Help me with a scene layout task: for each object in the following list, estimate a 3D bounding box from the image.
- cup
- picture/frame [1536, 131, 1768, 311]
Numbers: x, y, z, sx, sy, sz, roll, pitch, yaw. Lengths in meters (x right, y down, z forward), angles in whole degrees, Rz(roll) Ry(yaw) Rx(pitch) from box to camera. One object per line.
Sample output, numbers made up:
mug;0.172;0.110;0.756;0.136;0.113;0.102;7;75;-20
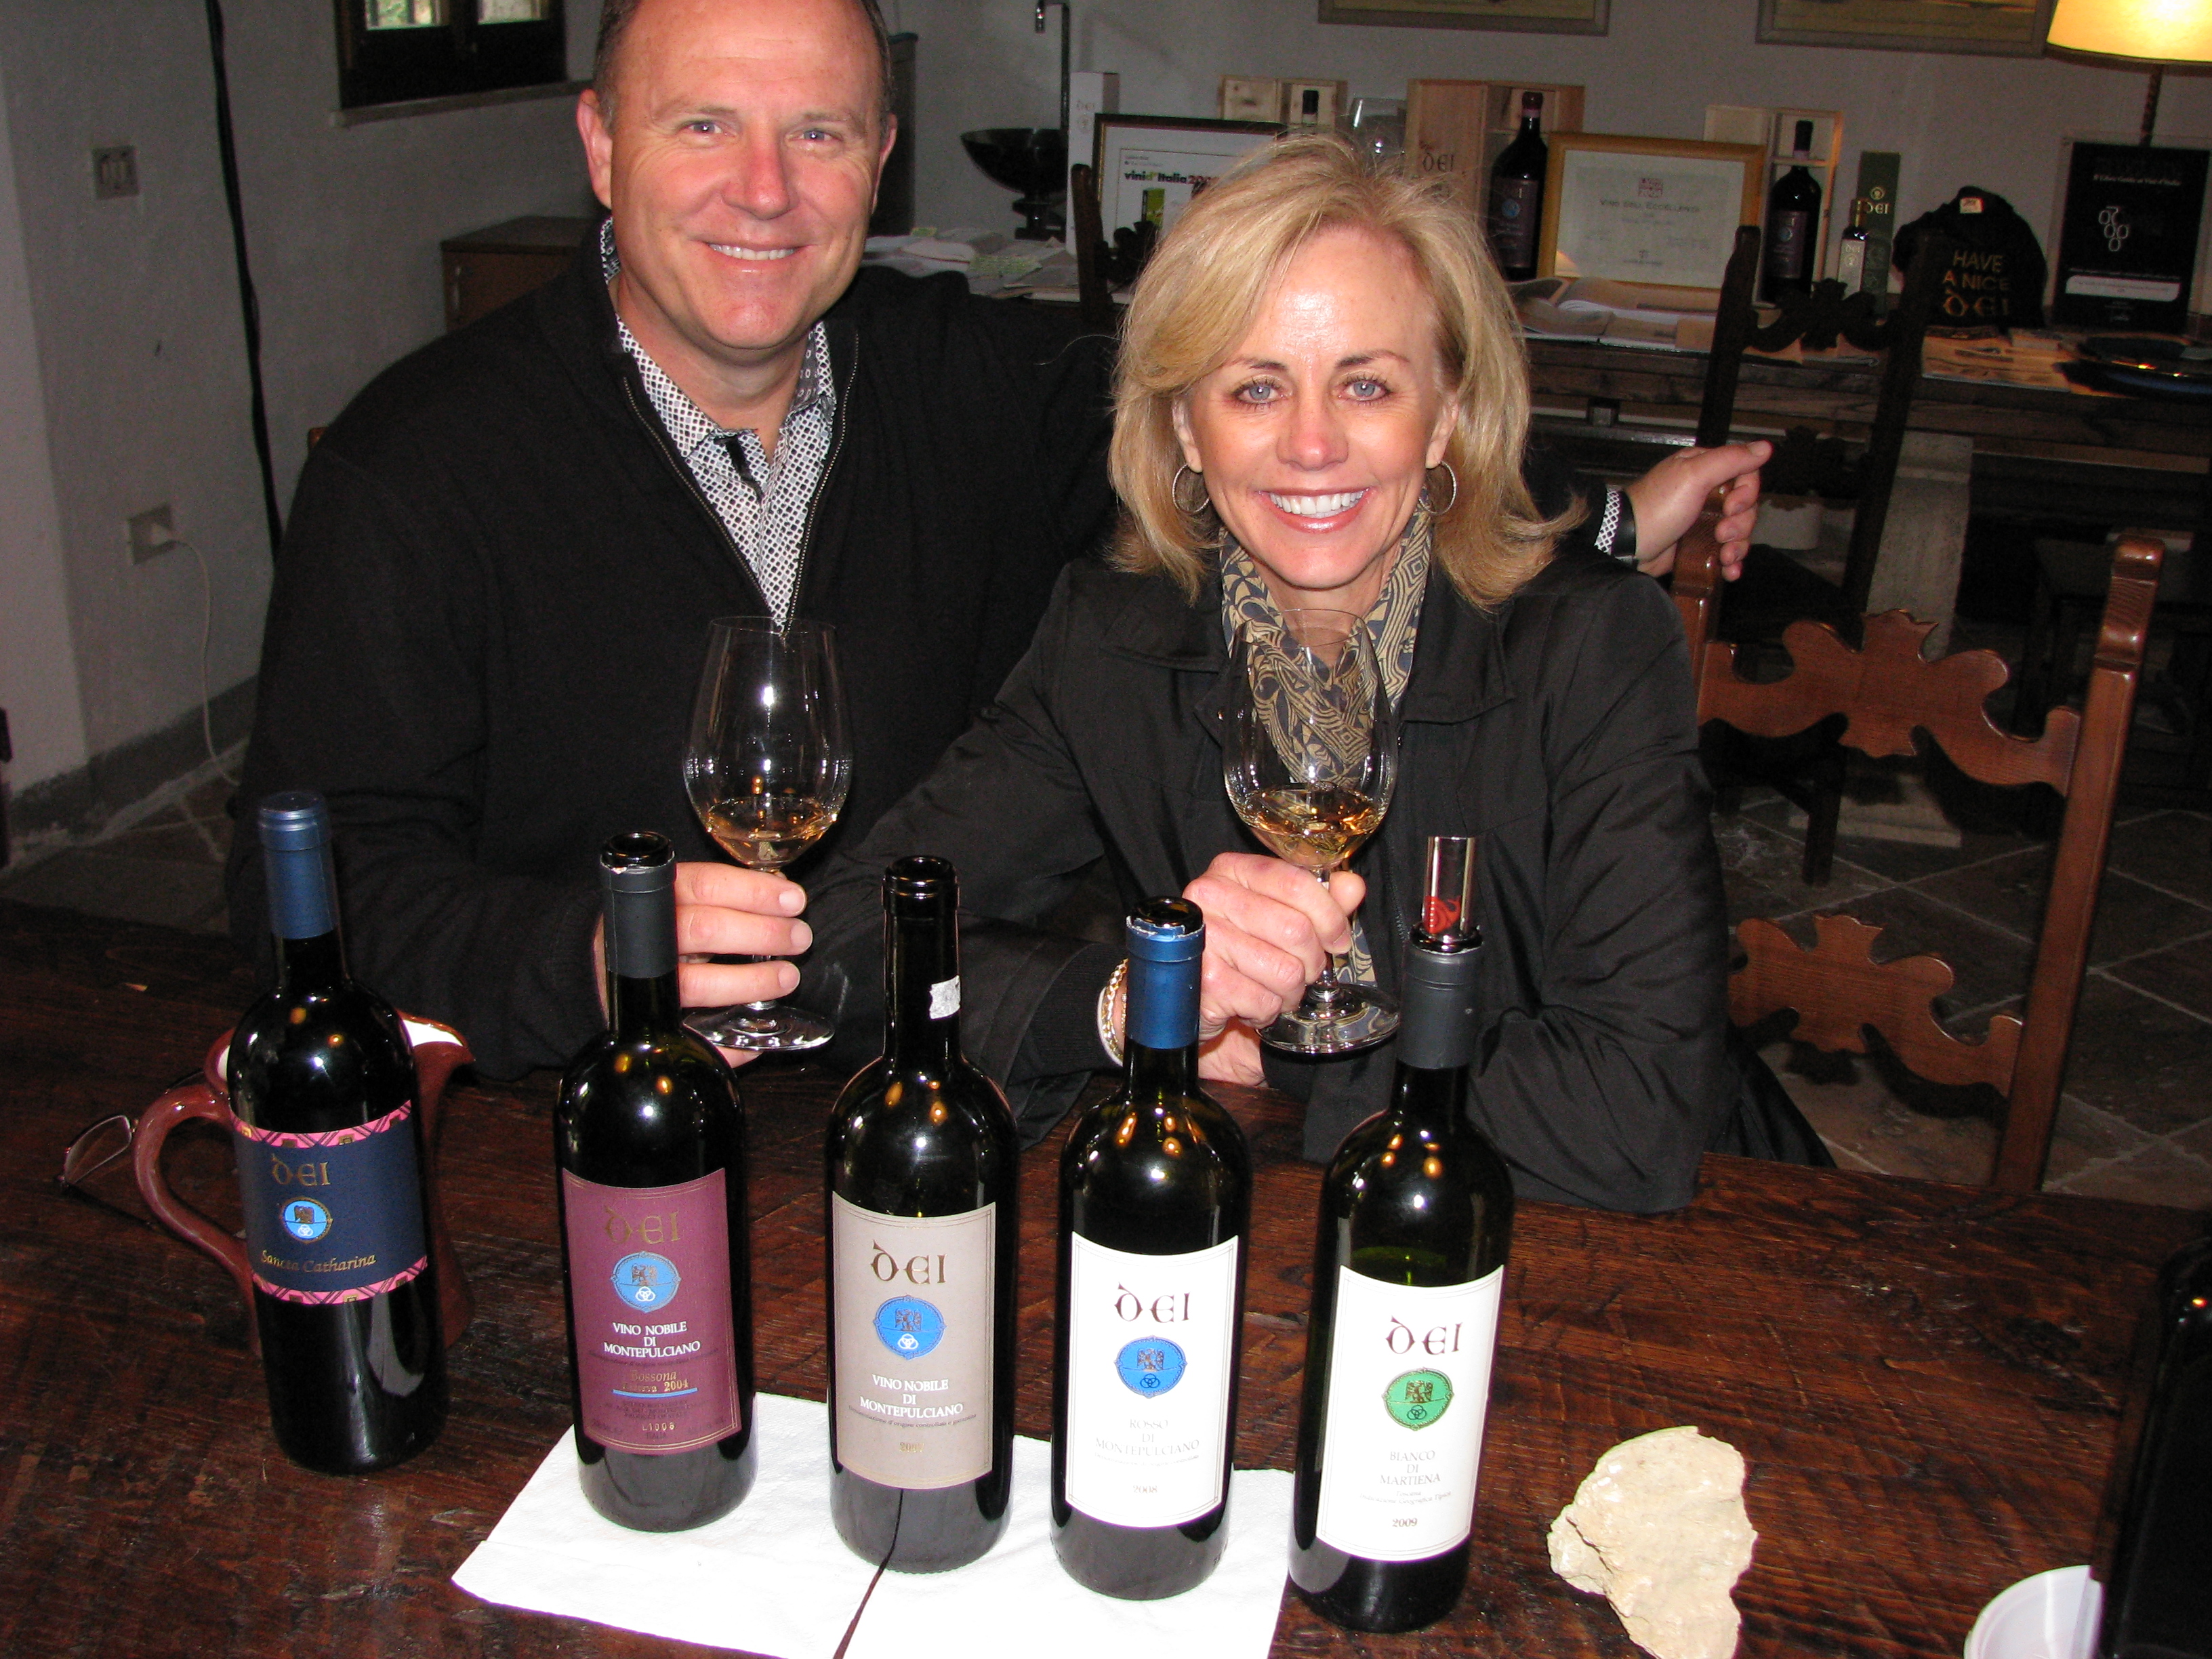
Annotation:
cup;-0.466;0.230;1.024;0.207;0.193;0.122;-2;15;-13
picture/frame;1.370;-1.513;4.304;0.721;0.508;0.070;10;11;16
